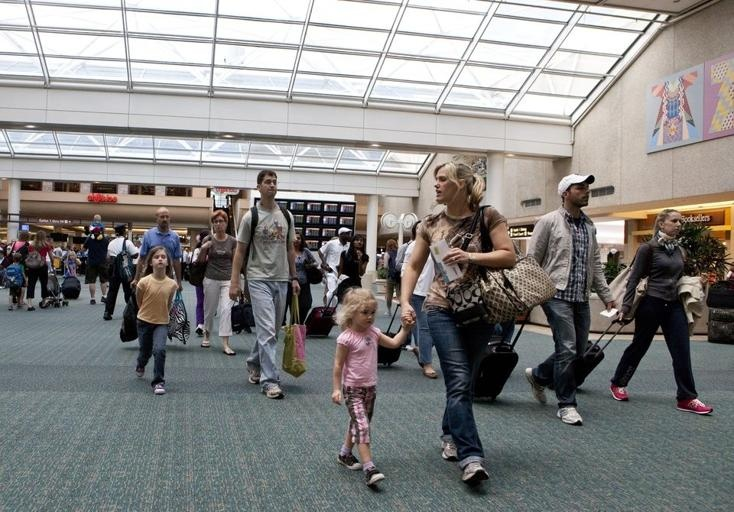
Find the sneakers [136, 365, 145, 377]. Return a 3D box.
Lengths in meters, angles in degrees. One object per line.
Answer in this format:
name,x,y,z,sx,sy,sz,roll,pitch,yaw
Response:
sneakers,-2.884,1.456,6.158,0.094,0.112,0.256,4,-5,-21

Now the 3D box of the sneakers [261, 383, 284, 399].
sneakers,-1.081,1.521,5.507,0.204,0.128,0.321,-2,3,-22

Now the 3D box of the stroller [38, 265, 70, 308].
stroller,-9.401,1.009,14.377,0.666,0.978,0.563,-15,0,9

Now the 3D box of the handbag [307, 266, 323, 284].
handbag,-1.158,0.407,10.642,0.310,0.357,0.359,3,-20,-29

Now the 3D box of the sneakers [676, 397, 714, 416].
sneakers,3.566,1.630,5.296,0.379,0.154,0.142,-3,-1,39

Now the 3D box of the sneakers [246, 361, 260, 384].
sneakers,-1.450,1.500,6.114,0.126,0.164,0.347,6,-19,-10

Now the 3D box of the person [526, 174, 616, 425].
person,2.146,0.371,5.250,0.722,2.540,1.102,0,2,28

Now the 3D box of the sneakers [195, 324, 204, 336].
sneakers,-3.315,1.466,9.537,0.166,0.208,0.472,0,-6,-3

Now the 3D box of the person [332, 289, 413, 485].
person,-0.018,0.910,3.536,0.492,1.330,0.600,-2,2,-31

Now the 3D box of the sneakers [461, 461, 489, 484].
sneakers,0.730,1.471,3.242,0.107,0.112,0.237,1,-4,-1

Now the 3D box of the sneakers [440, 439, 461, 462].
sneakers,0.646,1.534,3.802,0.084,0.096,0.218,2,-5,-4

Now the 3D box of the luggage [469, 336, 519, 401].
luggage,1.375,1.221,5.464,0.396,0.674,0.375,5,28,-14

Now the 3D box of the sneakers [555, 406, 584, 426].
sneakers,2.037,1.606,4.887,0.109,0.108,0.265,1,-8,-14

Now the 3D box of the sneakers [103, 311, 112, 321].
sneakers,-6.330,1.464,11.774,0.121,0.150,0.306,2,4,-3

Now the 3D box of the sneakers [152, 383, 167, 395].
sneakers,-2.347,1.487,5.407,0.075,0.091,0.210,1,-1,-15

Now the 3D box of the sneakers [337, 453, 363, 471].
sneakers,-0.138,1.530,3.590,0.075,0.084,0.205,2,-3,-35

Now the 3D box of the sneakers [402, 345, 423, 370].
sneakers,0.803,1.674,8.252,0.176,0.251,0.585,23,-5,-24

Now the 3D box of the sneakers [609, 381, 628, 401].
sneakers,3.052,1.646,5.860,0.109,0.125,0.306,1,0,-5

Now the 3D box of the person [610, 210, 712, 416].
person,3.414,0.595,5.647,0.936,2.299,0.820,0,2,27

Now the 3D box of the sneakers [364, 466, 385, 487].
sneakers,0.059,1.492,3.266,0.071,0.096,0.201,-4,-19,-25

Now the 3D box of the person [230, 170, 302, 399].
person,-1.196,0.282,5.874,0.731,2.687,0.828,0,2,32

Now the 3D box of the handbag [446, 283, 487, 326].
handbag,0.731,0.344,3.547,0.231,0.268,0.150,-19,-10,3

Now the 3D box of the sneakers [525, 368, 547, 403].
sneakers,1.967,1.523,5.700,0.210,0.508,0.171,-16,3,19

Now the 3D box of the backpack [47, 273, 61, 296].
backpack,-9.424,0.821,14.248,0.385,0.547,0.496,0,4,-9
